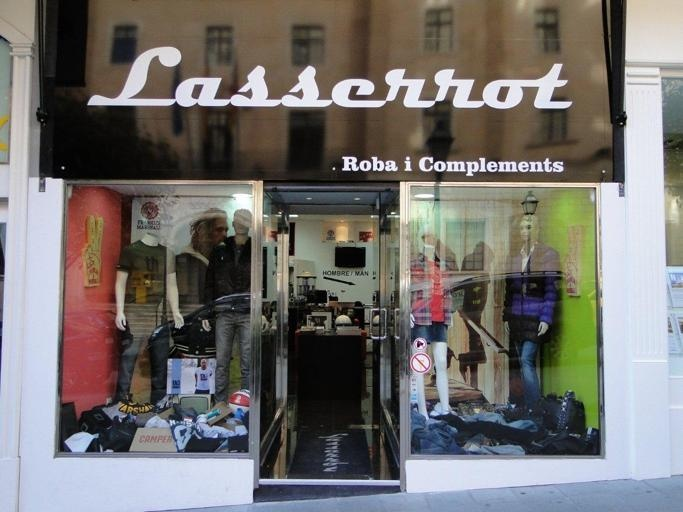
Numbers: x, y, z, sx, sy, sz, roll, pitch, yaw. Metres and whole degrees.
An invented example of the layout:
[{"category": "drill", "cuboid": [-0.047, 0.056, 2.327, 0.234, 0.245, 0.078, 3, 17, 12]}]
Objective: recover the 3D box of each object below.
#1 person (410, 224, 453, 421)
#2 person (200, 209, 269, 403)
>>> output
[{"category": "person", "cuboid": [0.895, 0.680, 7.475, 0.408, 1.812, 0.271, 1, 7, 5]}, {"category": "person", "cuboid": [-1.154, 0.519, 7.484, 0.489, 1.942, 0.330, 0, 7, -5]}]
